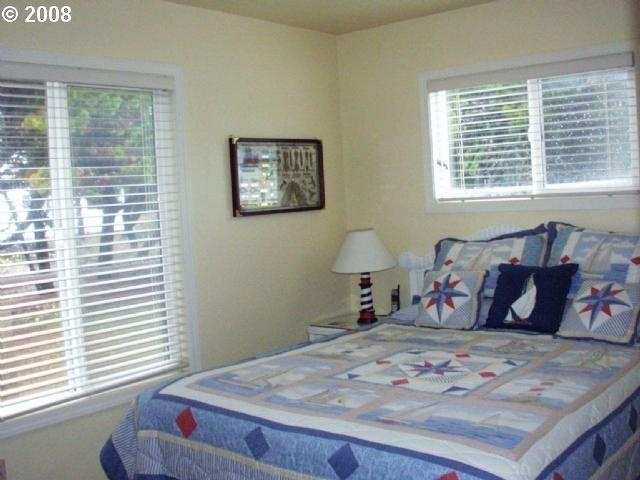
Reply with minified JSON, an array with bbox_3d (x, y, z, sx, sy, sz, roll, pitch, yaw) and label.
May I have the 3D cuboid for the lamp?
[{"bbox_3d":[0.353,0.296,3.935,0.501,0.728,0.489,-11,8,-43],"label":"lamp"}]
